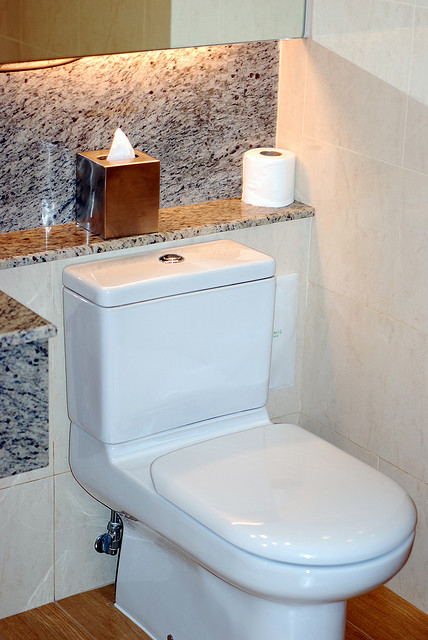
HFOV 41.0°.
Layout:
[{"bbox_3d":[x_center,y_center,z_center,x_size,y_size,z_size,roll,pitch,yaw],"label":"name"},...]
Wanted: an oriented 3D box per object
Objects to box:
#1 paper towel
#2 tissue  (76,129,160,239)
[{"bbox_3d":[0.124,-0.335,1.373,0.131,0.124,0.138,-1,23,-1],"label":"paper towel"},{"bbox_3d":[-0.191,-0.279,1.152,0.130,0.199,0.148,24,35,27],"label":"tissue "}]
